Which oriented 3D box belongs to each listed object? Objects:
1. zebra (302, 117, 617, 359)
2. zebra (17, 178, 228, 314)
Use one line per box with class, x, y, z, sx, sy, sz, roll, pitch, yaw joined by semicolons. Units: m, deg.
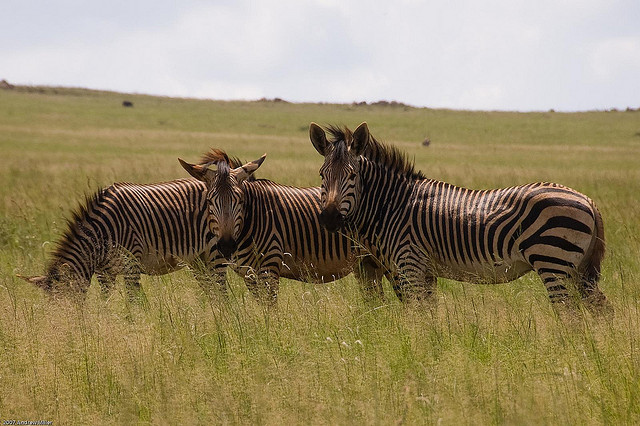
zebra;1.116;0.158;14.113;6.374;4.751;1.935;0;-2;10
zebra;-2.666;0.735;12.966;1.034;2.240;3.567;-6;3;45
